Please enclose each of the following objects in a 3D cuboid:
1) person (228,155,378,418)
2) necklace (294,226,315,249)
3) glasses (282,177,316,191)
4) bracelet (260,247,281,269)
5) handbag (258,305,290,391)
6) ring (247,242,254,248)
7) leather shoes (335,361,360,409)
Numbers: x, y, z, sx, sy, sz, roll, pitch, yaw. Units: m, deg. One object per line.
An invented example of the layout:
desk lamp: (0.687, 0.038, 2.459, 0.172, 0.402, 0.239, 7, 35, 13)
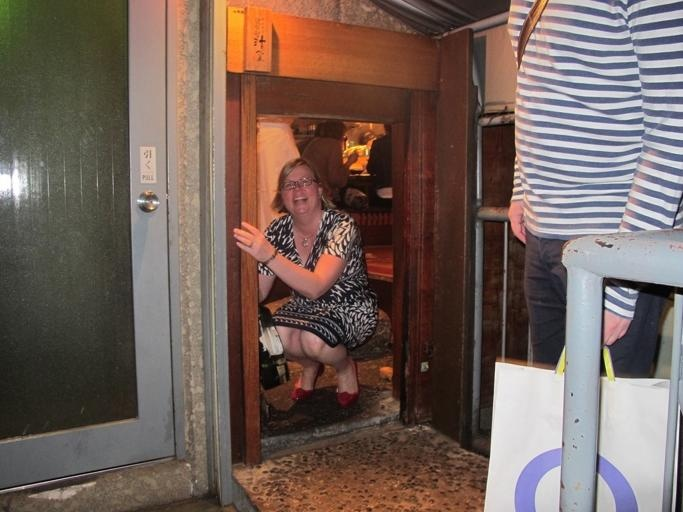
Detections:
person: (-0.208, 0.184, 3.311, 0.512, 1.504, 1.159, 7, 13, 35)
necklace: (-0.229, -0.118, 3.365, 0.094, 0.137, 0.047, 1, 10, 13)
glasses: (-0.250, -0.422, 3.246, 0.190, 0.072, 0.054, -2, 11, -7)
bracelet: (-0.355, 0.011, 2.778, 0.024, 0.086, 0.085, 35, 31, 0)
handbag: (-0.395, 0.522, 3.067, 0.223, 0.395, 0.093, -8, -1, -42)
ring: (-0.438, -0.052, 2.629, 0.026, 0.028, 0.010, -2, 11, -8)
leather shoes: (0.037, 0.827, 3.506, 0.160, 0.103, 0.394, -8, 26, 10)
